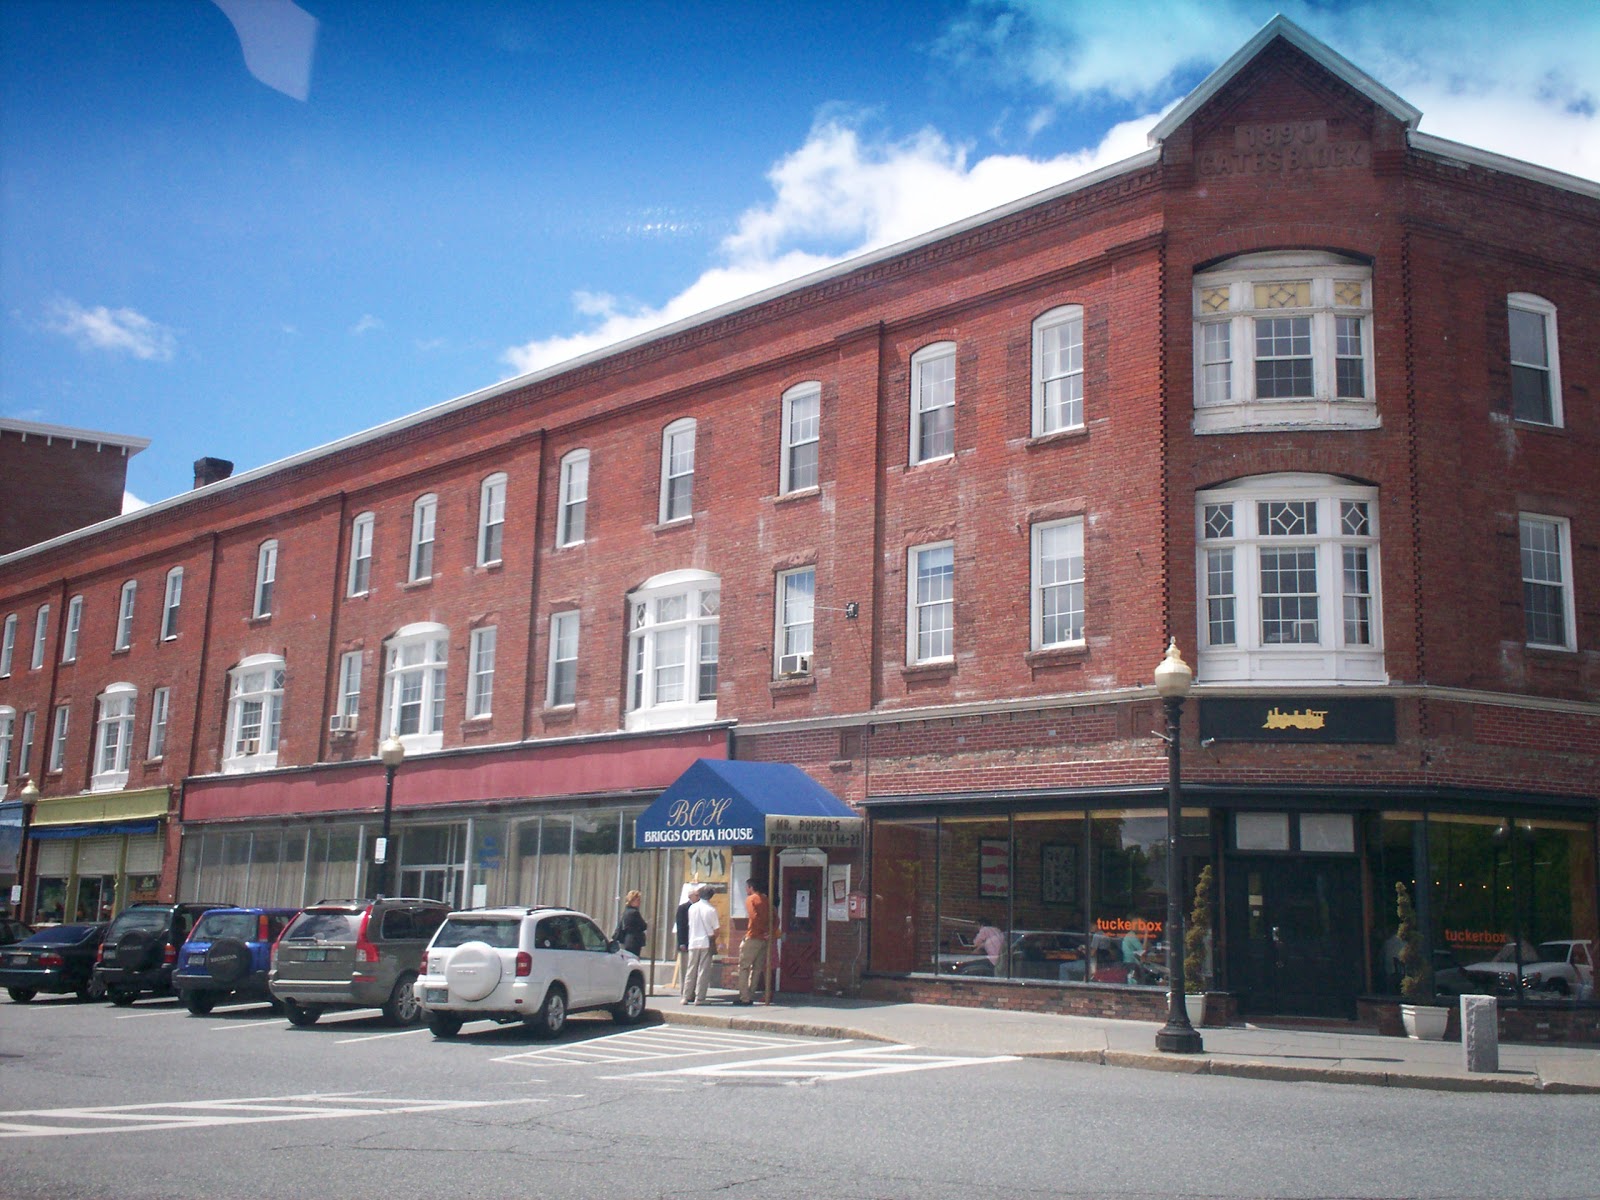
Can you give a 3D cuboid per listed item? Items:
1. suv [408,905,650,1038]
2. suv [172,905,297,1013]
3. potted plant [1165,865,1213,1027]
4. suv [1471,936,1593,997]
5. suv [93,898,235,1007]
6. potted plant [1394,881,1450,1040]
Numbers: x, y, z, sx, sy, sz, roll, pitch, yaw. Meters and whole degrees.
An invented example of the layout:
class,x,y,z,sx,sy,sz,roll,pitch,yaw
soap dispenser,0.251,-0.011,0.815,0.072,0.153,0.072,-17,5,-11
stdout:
class,x,y,z,sx,sy,sz,roll,pitch,yaw
suv,-3.892,5.910,25.138,1.602,1.915,4.091,-14,-22,37
suv,-10.159,6.311,28.627,1.572,1.161,2.568,-1,-4,6
potted plant,6.293,5.671,26.520,0.772,2.903,0.772,26,-38,-19
suv,12.037,6.097,26.360,2.026,0.704,1.026,8,-16,-23
suv,-12.231,6.990,31.487,1.901,1.516,3.422,-3,-12,15
potted plant,10.034,5.833,25.724,1.097,2.445,0.990,-7,-14,22
